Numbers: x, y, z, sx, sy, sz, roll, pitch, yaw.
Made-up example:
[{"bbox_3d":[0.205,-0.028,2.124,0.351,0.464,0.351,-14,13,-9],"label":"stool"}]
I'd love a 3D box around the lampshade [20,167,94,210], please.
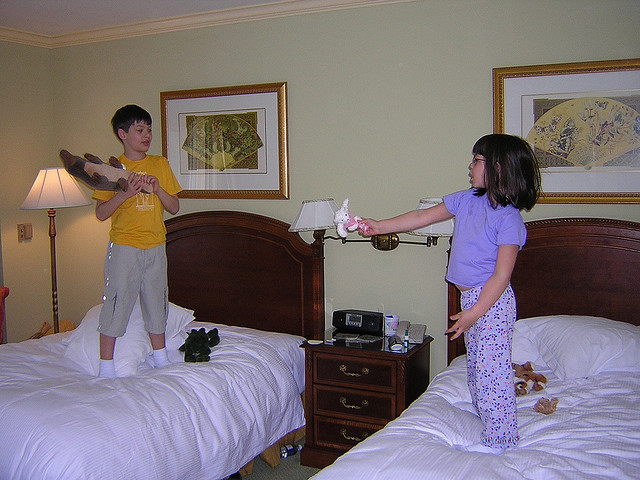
[{"bbox_3d":[-2.331,-0.459,4.342,0.612,0.381,0.660,-6,4,-2],"label":"lampshade"}]

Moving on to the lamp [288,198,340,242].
[{"bbox_3d":[-0.047,-0.143,3.454,0.257,0.269,0.270,-1,0,5],"label":"lamp"}]

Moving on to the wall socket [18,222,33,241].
[{"bbox_3d":[-2.765,-0.083,4.570,0.045,0.158,0.161,0,1,19],"label":"wall socket"}]

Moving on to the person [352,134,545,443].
[{"bbox_3d":[0.653,0.359,2.558,0.845,1.732,0.431,-2,12,8],"label":"person"}]

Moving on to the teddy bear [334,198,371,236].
[{"bbox_3d":[0.163,-0.091,2.721,0.170,0.166,0.070,13,36,-28],"label":"teddy bear"}]

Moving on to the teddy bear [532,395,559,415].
[{"bbox_3d":[1.209,0.878,2.588,0.089,0.030,0.089,4,51,41],"label":"teddy bear"}]

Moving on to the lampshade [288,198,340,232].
[{"bbox_3d":[-0.025,-0.201,3.668,0.426,0.209,0.428,2,9,33],"label":"lampshade"}]

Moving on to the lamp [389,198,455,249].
[{"bbox_3d":[0.728,-0.109,3.439,0.379,0.389,0.319,-1,0,22],"label":"lamp"}]

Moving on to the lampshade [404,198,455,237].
[{"bbox_3d":[0.749,-0.144,3.332,0.318,0.200,0.295,0,1,-34],"label":"lampshade"}]
